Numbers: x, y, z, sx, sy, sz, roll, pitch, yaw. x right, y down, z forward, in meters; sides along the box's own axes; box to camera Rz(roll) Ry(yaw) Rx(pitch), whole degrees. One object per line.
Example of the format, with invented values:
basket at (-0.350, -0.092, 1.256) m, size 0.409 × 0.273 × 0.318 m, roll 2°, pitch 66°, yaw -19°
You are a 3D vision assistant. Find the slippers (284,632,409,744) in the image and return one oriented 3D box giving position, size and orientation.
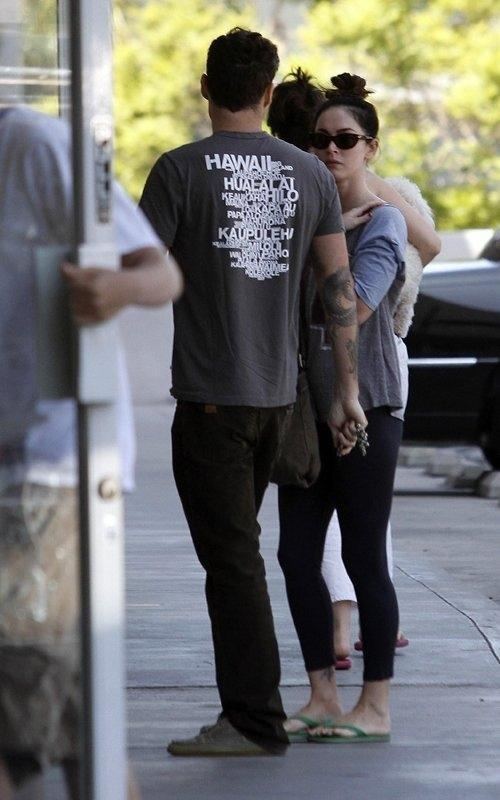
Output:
slippers at (0.247, 0.975, 3.362) m, size 0.210 × 0.052 × 0.750 m, roll -1°, pitch 6°, yaw 13°

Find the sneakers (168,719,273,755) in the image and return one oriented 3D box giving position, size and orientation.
sneakers at (-0.086, 0.931, 2.793) m, size 0.346 × 0.119 × 0.108 m, roll 2°, pitch -6°, yaw 1°
